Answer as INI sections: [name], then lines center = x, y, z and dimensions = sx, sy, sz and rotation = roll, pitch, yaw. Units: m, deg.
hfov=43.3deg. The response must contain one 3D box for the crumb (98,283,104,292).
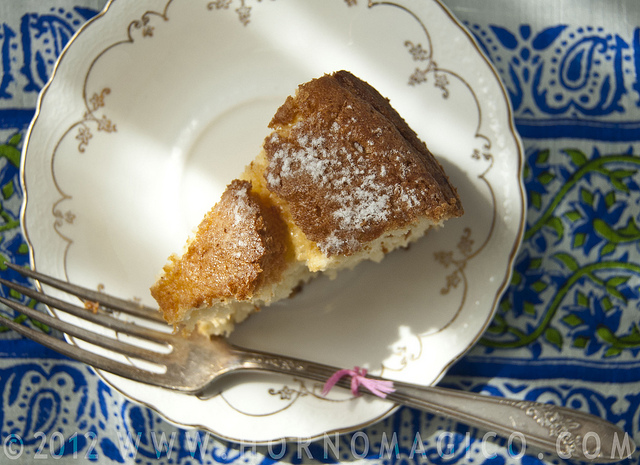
[crumb]
center = -0.777, 0.199, 2.857
dimensions = 0.022, 0.006, 0.027
rotation = 0, 80, -10
